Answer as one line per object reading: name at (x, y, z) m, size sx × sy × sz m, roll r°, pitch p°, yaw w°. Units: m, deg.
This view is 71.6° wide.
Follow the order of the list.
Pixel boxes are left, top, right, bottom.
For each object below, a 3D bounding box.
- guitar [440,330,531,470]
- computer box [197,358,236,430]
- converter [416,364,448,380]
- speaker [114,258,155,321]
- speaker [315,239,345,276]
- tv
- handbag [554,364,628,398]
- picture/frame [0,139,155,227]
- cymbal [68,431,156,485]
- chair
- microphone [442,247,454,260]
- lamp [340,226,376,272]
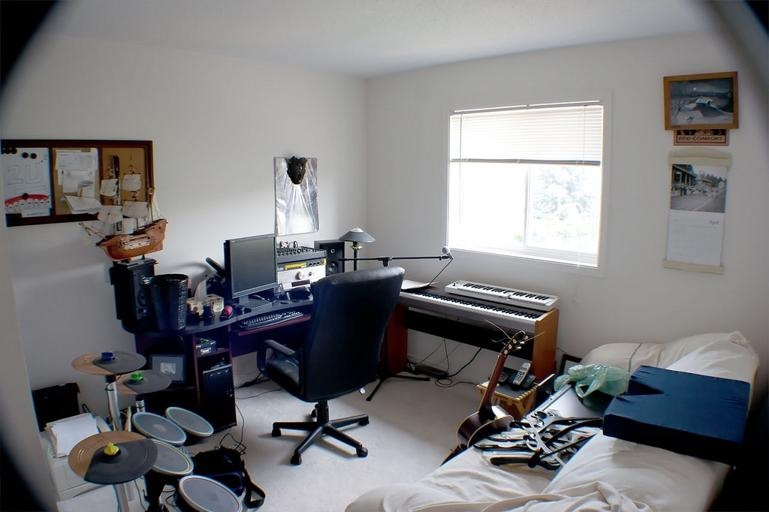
guitar at (0.598, 0.957, 3.150) m, size 0.150 × 1.075 × 0.427 m, roll 29°, pitch -19°, yaw 7°
computer box at (-1.230, 1.016, 3.847) m, size 0.251 × 0.440 × 0.224 m, roll -7°, pitch 4°, yaw -42°
converter at (0.416, 1.020, 4.690) m, size 0.183 × 0.041 × 0.111 m, roll 10°, pitch 12°, yaw 32°
speaker at (-1.721, 0.242, 3.628) m, size 0.301 × 0.421 × 0.329 m, roll -1°, pitch 9°, yaw -15°
speaker at (-0.444, 0.050, 4.710) m, size 0.196 × 0.327 × 0.180 m, roll 0°, pitch -5°, yaw 4°
tv at (-1.003, 0.133, 4.022) m, size 0.205 × 0.577 × 0.516 m, roll 10°, pitch 13°, yaw 40°
handbag at (1.242, 0.743, 3.180) m, size 0.242 × 0.082 × 0.245 m, roll -5°, pitch 2°, yaw 31°
picture/frame at (-2.034, -0.482, 3.491) m, size 0.779 × 0.452 × 0.032 m, roll -8°, pitch 15°, yaw -34°
cymbal at (-1.170, 0.844, 2.313) m, size 0.338 × 0.068 × 0.336 m, roll 13°, pitch 16°, yaw -8°
chair at (-0.384, 0.676, 3.655) m, size 0.803 × 1.305 × 0.884 m, roll -7°, pitch 13°, yaw -35°
microphone at (0.516, -0.017, 4.255) m, size 0.056 × 0.121 × 0.090 m, roll -10°, pitch 12°, yaw -6°
lamp at (-0.232, -0.029, 4.338) m, size 0.290 × 0.391 × 0.288 m, roll 2°, pitch 1°, yaw -14°
